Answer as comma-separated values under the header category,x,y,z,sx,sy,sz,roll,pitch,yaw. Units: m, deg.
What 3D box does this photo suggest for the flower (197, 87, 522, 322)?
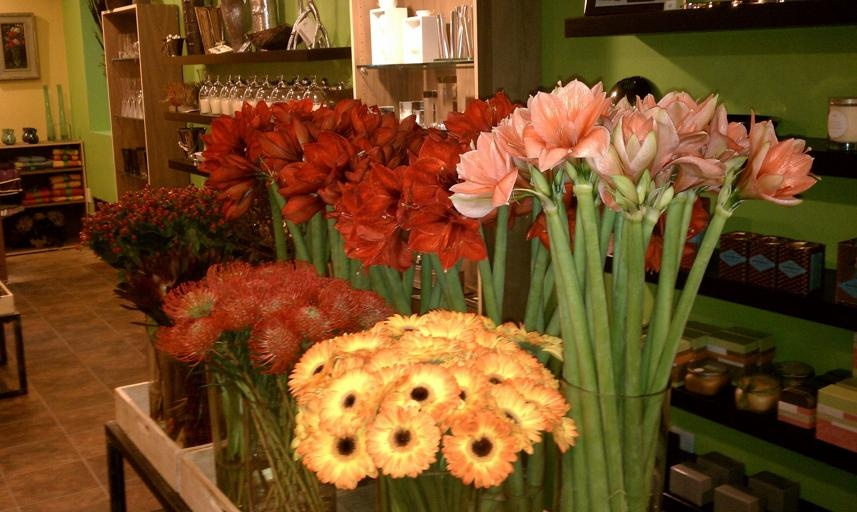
category,x,y,z,sx,sy,sz,roll,pitch,yaw
flower,-0.266,-0.137,1.327,0.357,0.393,0.295,1,25,22

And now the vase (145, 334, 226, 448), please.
category,x,y,z,sx,sy,sz,roll,pitch,yaw
vase,-0.611,0.332,1.535,0.181,0.258,0.179,-8,-14,26
